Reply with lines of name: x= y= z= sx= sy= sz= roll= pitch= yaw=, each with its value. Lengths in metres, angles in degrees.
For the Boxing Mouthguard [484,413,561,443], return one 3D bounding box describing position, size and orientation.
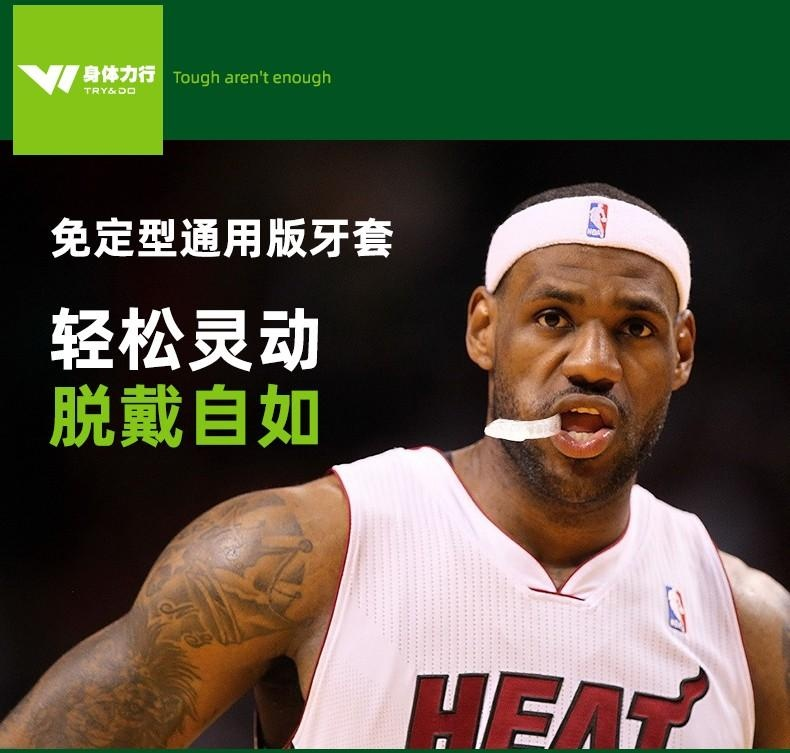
Boxing Mouthguard: x=0.464 y=0.191 z=3.638 sx=0.071 sy=0.111 sz=0.284 roll=2 pitch=-2 yaw=-44
